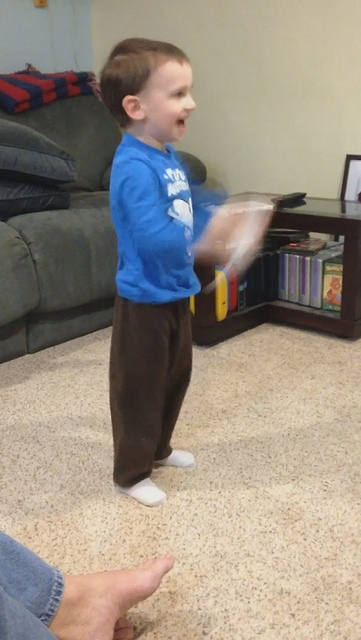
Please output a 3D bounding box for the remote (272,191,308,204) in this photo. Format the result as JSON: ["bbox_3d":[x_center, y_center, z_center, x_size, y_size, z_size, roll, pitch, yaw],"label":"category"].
[{"bbox_3d":[0.418,-0.480,2.027,0.078,0.030,0.228,11,21,33],"label":"remote"}]

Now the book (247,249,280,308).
[{"bbox_3d":[0.315,-0.171,2.046,0.203,0.205,0.152,-2,5,-40],"label":"book"}]

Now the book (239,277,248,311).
[{"bbox_3d":[0.233,-0.095,1.915,0.015,0.119,0.063,9,19,30],"label":"book"}]

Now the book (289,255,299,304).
[{"bbox_3d":[0.433,-0.160,1.986,0.043,0.188,0.016,13,21,39],"label":"book"}]

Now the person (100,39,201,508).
[{"bbox_3d":[-0.047,-0.047,0.937,0.175,0.854,0.198,-4,16,-13],"label":"person"}]

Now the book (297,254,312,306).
[{"bbox_3d":[0.466,-0.152,1.951,0.018,0.191,0.060,-11,19,-31],"label":"book"}]

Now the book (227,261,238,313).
[{"bbox_3d":[0.178,-0.107,1.860,0.017,0.172,0.087,7,12,37],"label":"book"}]

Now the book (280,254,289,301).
[{"bbox_3d":[0.402,-0.169,2.013,0.040,0.183,0.016,14,22,42],"label":"book"}]
